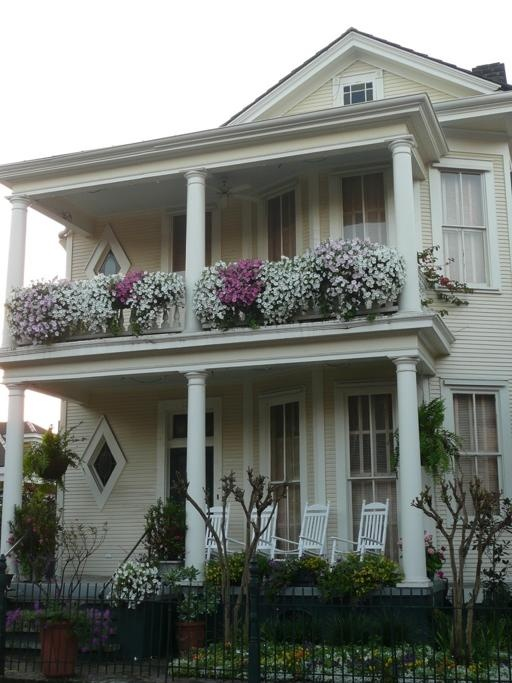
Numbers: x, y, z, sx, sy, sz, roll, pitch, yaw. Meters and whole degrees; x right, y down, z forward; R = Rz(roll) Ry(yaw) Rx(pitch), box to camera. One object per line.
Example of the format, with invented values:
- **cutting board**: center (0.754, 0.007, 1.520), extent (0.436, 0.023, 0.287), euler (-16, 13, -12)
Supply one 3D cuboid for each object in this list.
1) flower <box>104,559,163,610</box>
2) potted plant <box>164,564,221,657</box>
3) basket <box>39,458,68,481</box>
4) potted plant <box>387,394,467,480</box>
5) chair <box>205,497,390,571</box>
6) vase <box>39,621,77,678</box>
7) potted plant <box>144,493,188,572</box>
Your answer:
- **flower**: center (-1.422, 2.805, 9.504), extent (0.492, 0.325, 0.482), euler (3, -4, 25)
- **potted plant**: center (-0.728, 3.090, 9.274), extent (0.802, 1.012, 0.755), euler (17, -33, -29)
- **basket**: center (-3.366, 2.152, 13.567), extent (0.418, 0.334, 0.847), euler (3, -14, -14)
- **potted plant**: center (2.380, 1.247, 10.798), extent (0.444, 1.117, 0.825), euler (-7, -16, 27)
- **chair**: center (0.600, 2.464, 10.433), extent (1.434, 0.716, 0.424), euler (-4, -24, 11)
- **vase**: center (-1.972, 3.043, 8.100), extent (0.361, 0.522, 0.207), euler (1, -14, -4)
- **potted plant**: center (-1.269, 2.641, 11.392), extent (0.541, 0.864, 0.580), euler (2, -14, -10)
